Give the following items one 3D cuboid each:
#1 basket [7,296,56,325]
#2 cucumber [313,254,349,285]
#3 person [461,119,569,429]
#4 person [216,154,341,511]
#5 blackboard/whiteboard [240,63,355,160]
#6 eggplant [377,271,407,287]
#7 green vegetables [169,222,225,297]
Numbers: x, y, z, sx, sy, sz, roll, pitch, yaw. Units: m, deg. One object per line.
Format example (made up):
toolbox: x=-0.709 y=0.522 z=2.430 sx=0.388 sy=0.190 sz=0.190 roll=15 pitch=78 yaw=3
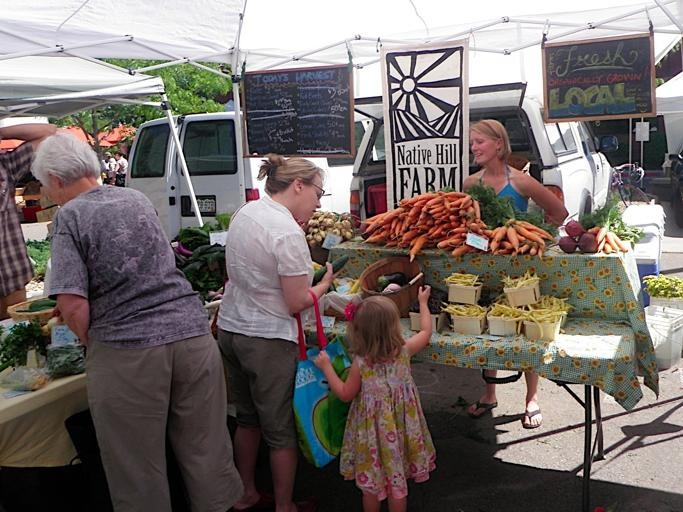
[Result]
basket: x=-2.058 y=0.375 z=3.213 sx=0.321 sy=0.108 sz=0.260 roll=2 pitch=14 yaw=-6
cucumber: x=-0.069 y=0.107 z=3.717 sx=0.328 sy=0.066 sz=0.080 roll=-33 pitch=60 yaw=-30
person: x=1.392 y=0.131 z=4.013 sx=0.995 sy=2.443 sz=0.772 roll=-1 pitch=1 yaw=27
person: x=-0.420 y=0.358 z=3.219 sx=0.889 sy=2.113 sz=0.835 roll=-5 pitch=8 yaw=-18
blackboard/whiteboard: x=-0.481 y=-1.586 z=5.399 sx=1.394 sy=0.950 sz=0.107 roll=6 pitch=13 yaw=26
eggplant: x=0.353 y=0.171 z=3.557 sx=0.147 sy=0.057 sz=0.111 roll=-1 pitch=3 yaw=-33
green vegetables: x=-1.267 y=0.029 z=4.421 sx=0.612 sy=0.241 sz=0.670 roll=-38 pitch=49 yaw=-18
